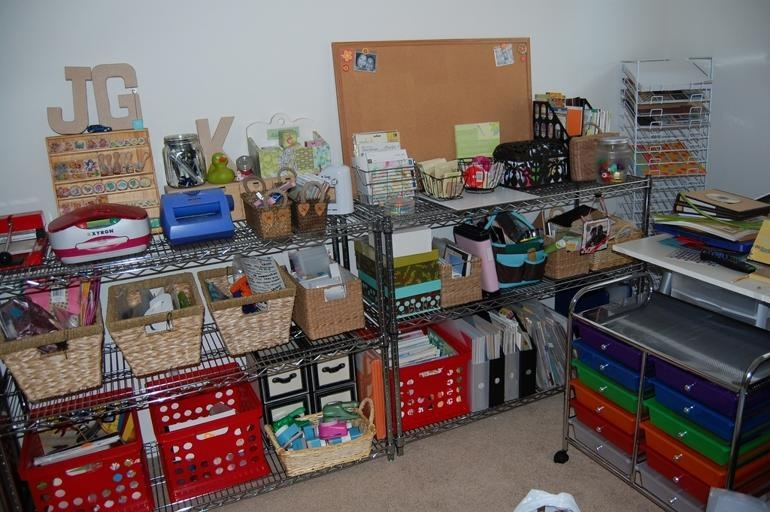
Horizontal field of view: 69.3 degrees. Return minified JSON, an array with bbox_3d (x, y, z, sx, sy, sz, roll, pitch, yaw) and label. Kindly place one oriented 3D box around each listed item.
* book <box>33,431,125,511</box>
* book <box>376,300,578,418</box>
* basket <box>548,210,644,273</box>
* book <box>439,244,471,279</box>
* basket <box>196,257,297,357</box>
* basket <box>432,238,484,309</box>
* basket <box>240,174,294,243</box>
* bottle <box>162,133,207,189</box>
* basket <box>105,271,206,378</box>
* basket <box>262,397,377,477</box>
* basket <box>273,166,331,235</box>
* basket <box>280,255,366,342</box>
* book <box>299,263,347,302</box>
[{"bbox_3d":[-1.587,0.998,2.843,0.389,0.236,0.381,-5,9,-37],"label":"book"},{"bbox_3d":[0.772,0.592,3.369,0.725,0.310,0.720,-12,20,-20],"label":"book"},{"bbox_3d":[1.248,-0.108,3.423,0.506,0.170,0.389,-18,28,-9],"label":"basket"},{"bbox_3d":[0.401,0.036,3.186,0.161,0.174,0.023,19,2,44],"label":"book"},{"bbox_3d":[-0.768,0.191,3.011,0.436,0.355,0.524,-9,24,-22],"label":"basket"},{"bbox_3d":[0.416,0.109,3.339,0.291,0.350,0.503,-6,16,-16],"label":"basket"},{"bbox_3d":[-0.556,-0.284,2.952,0.241,0.307,0.356,-14,32,-27],"label":"basket"},{"bbox_3d":[-1.056,-0.494,2.926,0.217,0.306,0.278,-7,15,-22],"label":"bottle"},{"bbox_3d":[-1.194,0.265,2.933,0.469,0.428,0.587,-9,25,-23],"label":"basket"},{"bbox_3d":[-0.361,0.990,3.142,0.581,0.281,0.357,-11,25,-19],"label":"basket"},{"bbox_3d":[-0.401,-0.322,2.982,0.274,0.327,0.341,-11,29,-25],"label":"basket"},{"bbox_3d":[-0.350,0.229,3.115,0.296,0.253,0.412,-11,21,-22],"label":"basket"},{"bbox_3d":[-0.331,0.148,3.016,0.204,0.125,0.206,-11,28,-18],"label":"book"}]
